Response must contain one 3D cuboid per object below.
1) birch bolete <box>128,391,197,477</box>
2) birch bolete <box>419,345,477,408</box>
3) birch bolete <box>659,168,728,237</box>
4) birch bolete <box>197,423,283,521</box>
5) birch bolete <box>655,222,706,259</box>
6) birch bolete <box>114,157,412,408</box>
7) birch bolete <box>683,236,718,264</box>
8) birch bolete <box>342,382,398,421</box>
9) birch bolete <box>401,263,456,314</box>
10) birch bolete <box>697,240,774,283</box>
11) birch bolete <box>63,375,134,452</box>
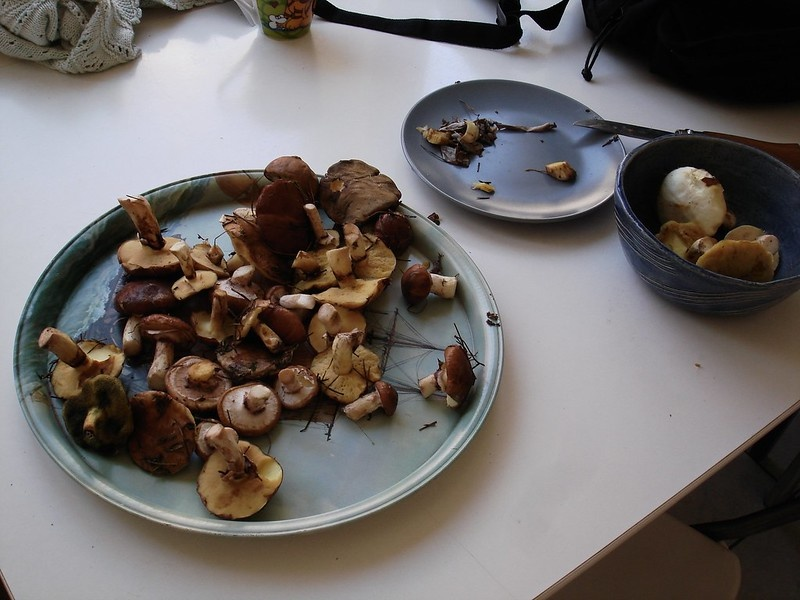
[{"bbox_3d":[-0.464,0.248,1.377,0.137,0.181,0.045,-12,25,2],"label":"birch bolete"},{"bbox_3d":[0.105,0.159,1.494,0.115,0.124,0.128,-10,21,0],"label":"birch bolete"},{"bbox_3d":[0.680,-0.201,1.629,0.131,0.091,0.171,-16,82,23],"label":"birch bolete"},{"bbox_3d":[-0.326,0.331,1.336,0.199,0.091,0.151,12,50,9],"label":"birch bolete"},{"bbox_3d":[0.643,-0.143,1.618,0.094,0.028,0.105,-8,83,37],"label":"birch bolete"},{"bbox_3d":[-0.315,0.021,1.599,0.528,0.210,0.581,7,51,1],"label":"birch bolete"},{"bbox_3d":[0.668,-0.112,1.577,0.018,0.053,0.070,39,79,-17],"label":"birch bolete"},{"bbox_3d":[-0.060,0.207,1.429,0.090,0.051,0.075,-26,60,-19],"label":"birch bolete"},{"bbox_3d":[0.063,0.004,1.639,0.143,0.104,0.121,-6,73,-6],"label":"birch bolete"},{"bbox_3d":[0.740,-0.084,1.537,0.197,0.100,0.078,0,64,2],"label":"birch bolete"},{"bbox_3d":[-0.575,0.218,1.343,0.123,0.055,0.147,9,94,1],"label":"birch bolete"}]
